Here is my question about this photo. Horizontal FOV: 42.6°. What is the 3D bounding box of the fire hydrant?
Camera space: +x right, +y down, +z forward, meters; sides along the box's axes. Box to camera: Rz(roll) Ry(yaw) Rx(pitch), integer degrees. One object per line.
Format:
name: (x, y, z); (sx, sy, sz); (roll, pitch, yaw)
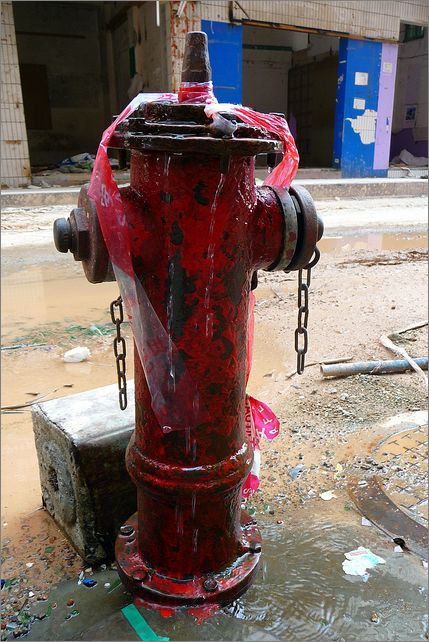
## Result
fire hydrant: (-0.024, 0.025, 1.378); (0.574, 1.375, 0.405); (-16, 22, -35)
